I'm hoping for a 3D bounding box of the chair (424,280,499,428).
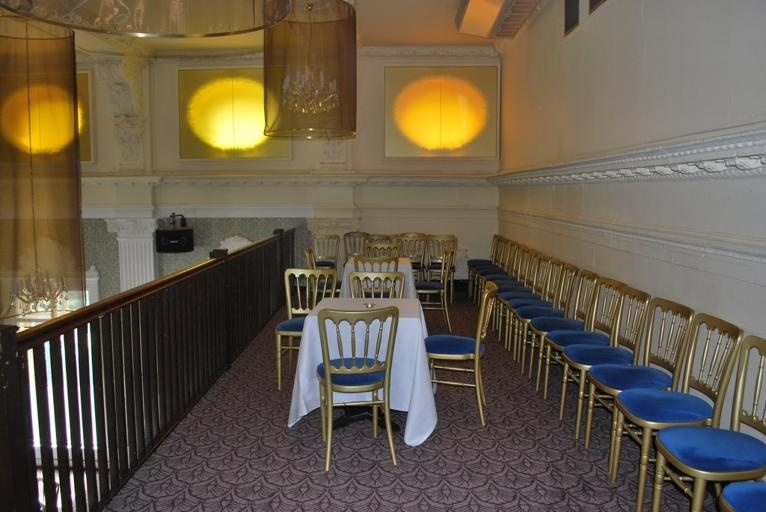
[{"bbox_3d":[0.683,0.889,4.865,0.683,1.223,0.562,2,8,7],"label":"chair"}]

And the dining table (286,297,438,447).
[{"bbox_3d":[-0.152,0.911,4.613,1.198,0.868,1.245,1,3,2],"label":"dining table"}]

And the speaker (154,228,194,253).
[{"bbox_3d":[-3.834,-0.289,9.622,0.708,0.441,0.336,2,7,20],"label":"speaker"}]

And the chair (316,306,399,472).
[{"bbox_3d":[-0.204,0.968,4.234,0.647,1.234,0.775,-1,6,-2],"label":"chair"}]
